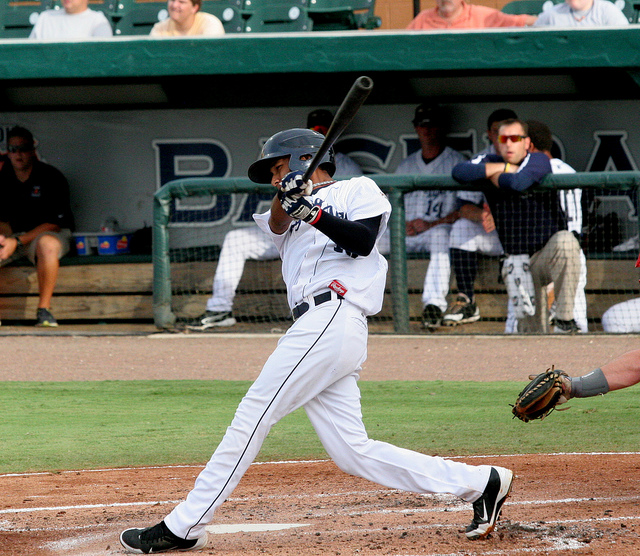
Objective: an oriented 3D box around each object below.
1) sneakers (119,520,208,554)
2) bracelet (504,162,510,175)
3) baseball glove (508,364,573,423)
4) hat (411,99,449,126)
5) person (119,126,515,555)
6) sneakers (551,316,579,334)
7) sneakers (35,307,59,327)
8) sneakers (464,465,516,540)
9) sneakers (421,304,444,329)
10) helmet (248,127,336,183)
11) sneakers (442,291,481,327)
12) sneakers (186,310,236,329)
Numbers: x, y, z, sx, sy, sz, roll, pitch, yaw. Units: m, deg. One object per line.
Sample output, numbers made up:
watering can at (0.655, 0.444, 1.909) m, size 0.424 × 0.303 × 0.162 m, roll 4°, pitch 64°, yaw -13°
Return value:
sneakers at (-0.737, 1.173, 6.197) m, size 0.432 × 0.141 × 0.142 m, roll 6°, pitch 6°, yaw -3°
bracelet at (1.157, -0.685, 8.531) m, size 0.035 × 0.053 × 0.057 m, roll 1°, pitch 4°, yaw 13°
baseball glove at (1.010, 0.526, 6.565) m, size 0.095 × 0.291 × 0.227 m, roll 48°, pitch -8°, yaw 38°
hat at (0.744, -1.133, 9.443) m, size 0.218 × 0.128 × 0.269 m, roll -1°, pitch 3°, yaw 8°
person at (-0.005, 0.279, 6.237) m, size 1.660 × 1.953 × 0.469 m, roll 2°, pitch -3°, yaw -6°
sneakers at (1.544, 0.302, 8.629) m, size 0.180 × 0.086 × 0.131 m, roll 1°, pitch -22°, yaw 2°
sneakers at (-1.820, 0.254, 9.075) m, size 0.137 × 0.111 × 0.286 m, roll 1°, pitch -5°, yaw -18°
sneakers at (0.768, 1.018, 6.288) m, size 0.209 × 0.365 × 0.132 m, roll 20°, pitch 7°, yaw -5°
sneakers at (0.709, 0.245, 8.744) m, size 0.143 × 0.142 × 0.152 m, roll 0°, pitch 4°, yaw 9°
helmet at (-0.130, -0.581, 6.424) m, size 0.406 × 0.192 × 0.219 m, roll -1°, pitch -6°, yaw -4°
sneakers at (0.900, 0.206, 8.764) m, size 0.301 × 0.167 × 0.144 m, roll -3°, pitch -3°, yaw -19°
sneakers at (-0.709, 0.276, 8.947) m, size 0.147 × 0.079 × 0.216 m, roll 32°, pitch 42°, yaw 28°
